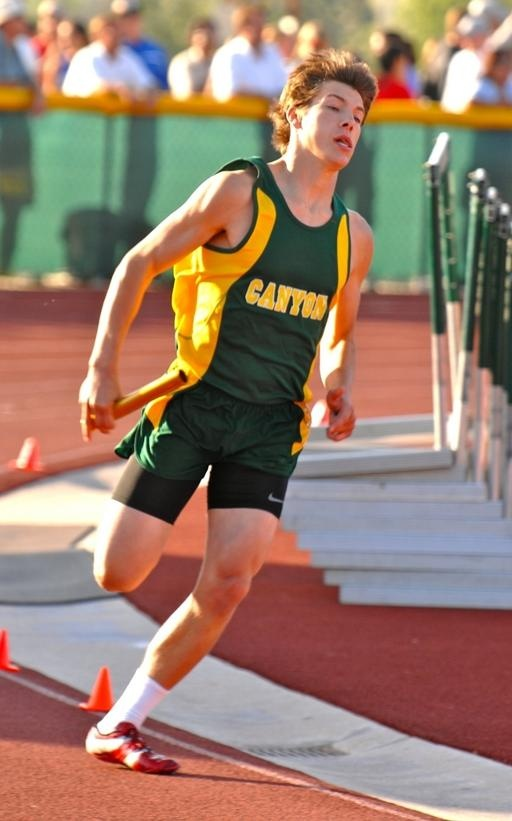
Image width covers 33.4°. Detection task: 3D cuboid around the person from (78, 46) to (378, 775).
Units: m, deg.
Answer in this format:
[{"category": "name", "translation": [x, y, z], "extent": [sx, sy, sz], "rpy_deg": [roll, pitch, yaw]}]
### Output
[{"category": "person", "translation": [-0.032, -0.037, 1.942], "extent": [0.720, 1.596, 0.366], "rpy_deg": [0, 6, -41]}]
